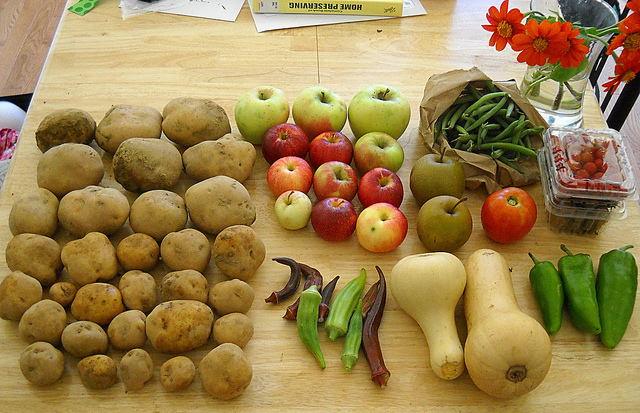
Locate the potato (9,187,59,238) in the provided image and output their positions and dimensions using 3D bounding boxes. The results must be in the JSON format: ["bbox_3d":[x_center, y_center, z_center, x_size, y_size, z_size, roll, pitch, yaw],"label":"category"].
[{"bbox_3d":[-0.919,0.021,1.910,0.115,0.132,0.170,7,58,10],"label":"potato"}]

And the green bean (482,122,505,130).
[{"bbox_3d":[0.610,-0.284,2.008,0.081,0.022,0.019,4,83,-15],"label":"green bean"}]

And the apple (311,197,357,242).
[{"bbox_3d":[0.049,0.039,1.867,0.126,0.139,0.136,4,32,-5],"label":"apple"}]

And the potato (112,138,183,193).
[{"bbox_3d":[-0.601,-0.149,2.019,0.247,0.194,0.234,0,23,-23],"label":"potato"}]

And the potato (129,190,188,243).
[{"bbox_3d":[-0.550,0.053,1.906,0.189,0.180,0.105,37,66,-1],"label":"potato"}]

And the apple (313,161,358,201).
[{"bbox_3d":[0.054,-0.076,2.013,0.125,0.127,0.134,22,67,7],"label":"apple"}]

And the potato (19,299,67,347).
[{"bbox_3d":[-0.820,0.336,1.692,0.119,0.069,0.137,13,74,-6],"label":"potato"}]

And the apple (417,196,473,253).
[{"bbox_3d":[0.414,0.036,1.843,0.189,0.210,0.137,6,34,7],"label":"apple"}]

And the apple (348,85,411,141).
[{"bbox_3d":[0.201,-0.342,2.097,0.187,0.230,0.194,-7,41,-7],"label":"apple"}]

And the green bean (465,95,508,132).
[{"bbox_3d":[0.596,-0.324,2.007,0.164,0.109,0.031,-14,36,-21],"label":"green bean"}]

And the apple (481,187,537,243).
[{"bbox_3d":[0.614,0.032,1.941,0.163,0.182,0.170,-8,47,-7],"label":"apple"}]

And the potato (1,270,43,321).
[{"bbox_3d":[-0.912,0.269,1.767,0.109,0.074,0.138,3,58,-5],"label":"potato"}]

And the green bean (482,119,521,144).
[{"bbox_3d":[0.642,-0.265,2.004,0.127,0.018,0.033,-31,39,22],"label":"green bean"}]

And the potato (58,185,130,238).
[{"bbox_3d":[-0.742,0.023,1.874,0.218,0.136,0.132,8,35,9],"label":"potato"}]

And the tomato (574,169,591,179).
[{"bbox_3d":[0.840,-0.106,1.821,0.034,0.042,0.035,-4,47,41],"label":"tomato"}]

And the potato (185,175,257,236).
[{"bbox_3d":[-0.335,0.011,1.969,0.201,0.127,0.176,18,77,1],"label":"potato"}]

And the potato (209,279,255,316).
[{"bbox_3d":[-0.286,0.297,1.786,0.134,0.155,0.086,-4,70,-33],"label":"potato"}]

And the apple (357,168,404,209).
[{"bbox_3d":[0.198,-0.039,1.968,0.128,0.138,0.107,18,86,-12],"label":"apple"}]

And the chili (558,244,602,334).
[{"bbox_3d":[0.818,0.245,1.796,0.106,0.087,0.342,-7,48,17],"label":"chili"}]

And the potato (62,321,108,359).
[{"bbox_3d":[-0.693,0.391,1.680,0.123,0.088,0.074,9,35,10],"label":"potato"}]

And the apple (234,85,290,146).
[{"bbox_3d":[-0.214,-0.335,2.179,0.188,0.213,0.190,-30,54,-29],"label":"apple"}]

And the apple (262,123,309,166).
[{"bbox_3d":[-0.126,-0.243,2.066,0.133,0.141,0.139,-15,25,-21],"label":"apple"}]

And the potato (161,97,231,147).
[{"bbox_3d":[-0.452,-0.310,2.043,0.175,0.112,0.196,5,43,-6],"label":"potato"}]

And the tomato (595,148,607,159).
[{"bbox_3d":[0.907,-0.172,1.840,0.025,0.019,0.034,15,71,17],"label":"tomato"}]

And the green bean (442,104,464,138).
[{"bbox_3d":[0.477,-0.303,2.038,0.022,0.018,0.157,10,50,50],"label":"green bean"}]

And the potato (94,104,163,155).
[{"bbox_3d":[-0.681,-0.291,2.020,0.182,0.110,0.197,2,50,-5],"label":"potato"}]

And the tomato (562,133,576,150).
[{"bbox_3d":[0.825,-0.216,1.891,0.037,0.025,0.068,12,36,15],"label":"tomato"}]

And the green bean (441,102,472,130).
[{"bbox_3d":[0.502,-0.341,2.069,0.023,0.042,0.178,31,64,22],"label":"green bean"}]

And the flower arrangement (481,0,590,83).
[{"bbox_3d":[0.691,-0.518,1.852,0.247,0.146,0.290,5,4,-34],"label":"flower arrangement"}]

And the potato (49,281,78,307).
[{"bbox_3d":[-0.783,0.261,1.742,0.069,0.042,0.078,7,58,-20],"label":"potato"}]

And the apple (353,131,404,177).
[{"bbox_3d":[0.209,-0.190,2.064,0.139,0.144,0.153,-14,70,-3],"label":"apple"}]

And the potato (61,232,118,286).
[{"bbox_3d":[-0.719,0.166,1.786,0.155,0.117,0.120,-18,39,-26],"label":"potato"}]

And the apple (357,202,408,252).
[{"bbox_3d":[0.204,0.069,1.848,0.146,0.119,0.150,1,59,3],"label":"apple"}]

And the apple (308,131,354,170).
[{"bbox_3d":[0.036,-0.206,2.005,0.126,0.139,0.130,-16,38,-19],"label":"apple"}]

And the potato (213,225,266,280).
[{"bbox_3d":[-0.263,0.142,1.849,0.175,0.106,0.192,4,51,-26],"label":"potato"}]

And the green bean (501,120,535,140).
[{"bbox_3d":[0.692,-0.271,2.000,0.097,0.014,0.015,-38,92,-15],"label":"green bean"}]

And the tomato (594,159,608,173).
[{"bbox_3d":[0.901,-0.130,1.823,0.039,0.030,0.032,6,34,7],"label":"tomato"}]

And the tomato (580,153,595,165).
[{"bbox_3d":[0.862,-0.154,1.841,0.032,0.044,0.034,-9,7,10],"label":"tomato"}]

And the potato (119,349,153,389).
[{"bbox_3d":[-0.528,0.462,1.634,0.080,0.060,0.114,5,75,-12],"label":"potato"}]

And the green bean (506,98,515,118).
[{"bbox_3d":[0.667,-0.347,1.992,0.022,0.020,0.109,14,39,10],"label":"green bean"}]

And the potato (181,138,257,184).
[{"bbox_3d":[-0.357,-0.154,2.051,0.282,0.177,0.219,-5,25,-17],"label":"potato"}]

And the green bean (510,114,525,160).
[{"bbox_3d":[0.691,-0.239,1.998,0.034,0.023,0.174,19,80,-6],"label":"green bean"}]

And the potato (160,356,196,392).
[{"bbox_3d":[-0.412,0.478,1.634,0.086,0.050,0.098,11,70,-8],"label":"potato"}]

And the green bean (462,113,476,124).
[{"bbox_3d":[0.531,-0.313,2.017,0.057,0.014,0.016,34,87,-7],"label":"green bean"}]

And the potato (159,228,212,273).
[{"bbox_3d":[-0.427,0.151,1.813,0.170,0.119,0.109,-9,35,-14],"label":"potato"}]

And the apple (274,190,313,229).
[{"bbox_3d":[-0.096,0.020,1.953,0.118,0.112,0.125,-17,9,-10],"label":"apple"}]

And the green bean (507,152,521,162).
[{"bbox_3d":[0.686,-0.174,1.996,0.025,0.019,0.027,26,60,-10],"label":"green bean"}]

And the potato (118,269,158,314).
[{"bbox_3d":[-0.548,0.262,1.738,0.094,0.067,0.133,-11,73,-23],"label":"potato"}]

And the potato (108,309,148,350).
[{"bbox_3d":[-0.572,0.371,1.697,0.115,0.095,0.082,-14,37,-21],"label":"potato"}]

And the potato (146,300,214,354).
[{"bbox_3d":[-0.421,0.359,1.721,0.203,0.113,0.167,-2,54,-22],"label":"potato"}]

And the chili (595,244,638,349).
[{"bbox_3d":[0.930,0.265,1.794,0.104,0.095,0.326,-10,55,48],"label":"chili"}]

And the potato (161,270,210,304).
[{"bbox_3d":[-0.451,0.249,1.790,0.149,0.093,0.140,11,2,-2],"label":"potato"}]

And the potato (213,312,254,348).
[{"bbox_3d":[-0.254,0.366,1.693,0.090,0.054,0.099,-10,62,-23],"label":"potato"}]

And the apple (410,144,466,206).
[{"bbox_3d":[0.389,-0.095,1.987,0.161,0.167,0.173,-5,35,-9],"label":"apple"}]

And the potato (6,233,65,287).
[{"bbox_3d":[-0.883,0.183,1.832,0.167,0.101,0.133,29,67,3],"label":"potato"}]

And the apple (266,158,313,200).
[{"bbox_3d":[-0.103,-0.108,1.952,0.123,0.133,0.132,-5,38,-1],"label":"apple"}]

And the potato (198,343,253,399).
[{"bbox_3d":[-0.271,0.477,1.648,0.133,0.117,0.116,-19,39,-27],"label":"potato"}]
